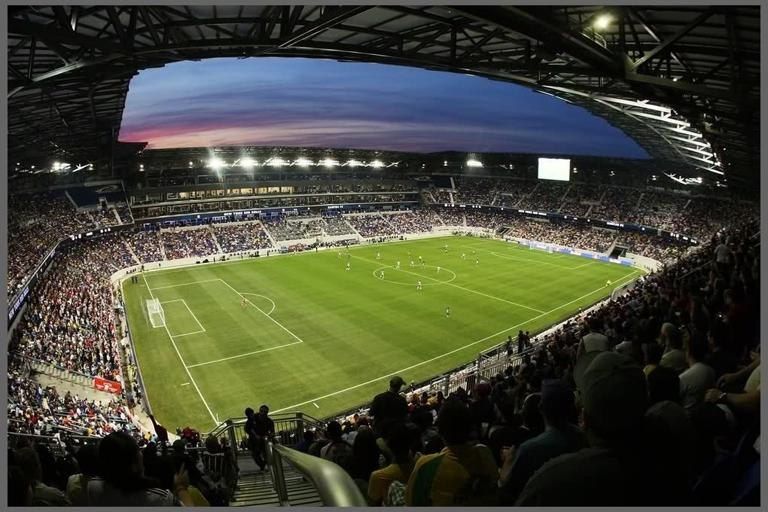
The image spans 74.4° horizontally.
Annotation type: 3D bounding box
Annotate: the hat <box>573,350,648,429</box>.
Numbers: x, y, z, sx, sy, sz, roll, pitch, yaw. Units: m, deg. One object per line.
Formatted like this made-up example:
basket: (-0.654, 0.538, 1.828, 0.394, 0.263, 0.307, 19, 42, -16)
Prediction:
hat: (2.911, 1.708, 6.380, 0.850, 0.976, 0.509, 5, -45, 15)
